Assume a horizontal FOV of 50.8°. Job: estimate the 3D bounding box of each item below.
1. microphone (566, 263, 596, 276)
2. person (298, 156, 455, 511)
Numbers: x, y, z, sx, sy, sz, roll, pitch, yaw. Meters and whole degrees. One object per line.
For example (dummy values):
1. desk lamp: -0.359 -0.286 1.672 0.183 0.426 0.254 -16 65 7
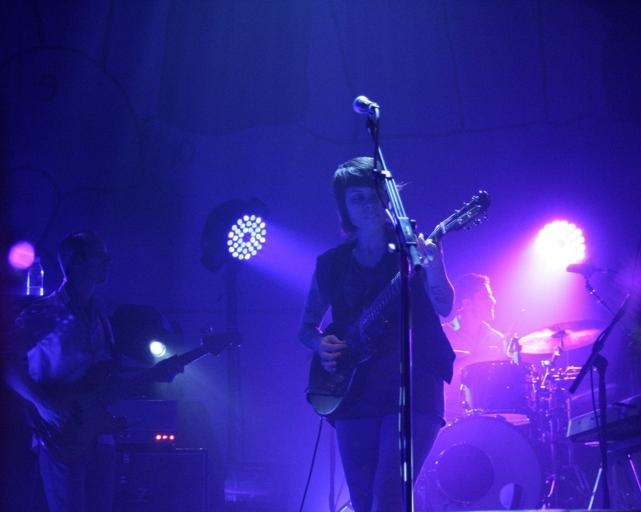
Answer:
1. microphone: 1.746 0.070 4.527 0.201 0.080 0.091 11 -29 -24
2. person: 0.388 0.409 3.795 0.946 1.906 0.898 3 -25 -10
